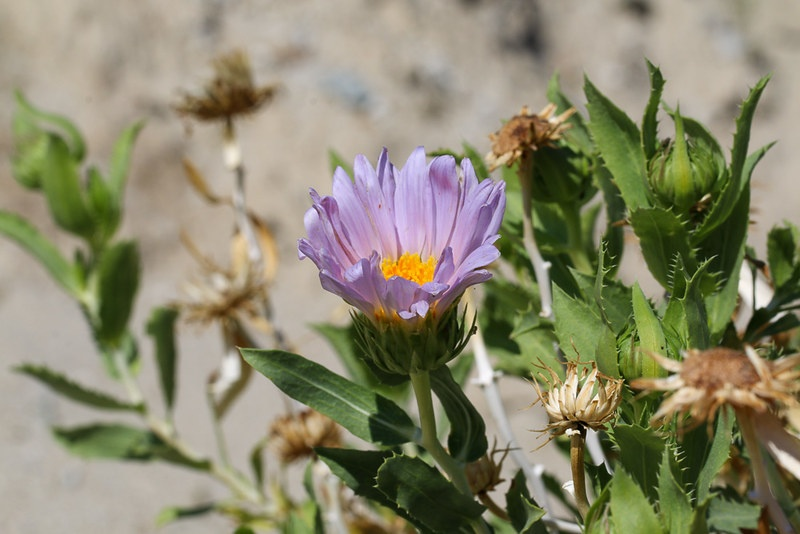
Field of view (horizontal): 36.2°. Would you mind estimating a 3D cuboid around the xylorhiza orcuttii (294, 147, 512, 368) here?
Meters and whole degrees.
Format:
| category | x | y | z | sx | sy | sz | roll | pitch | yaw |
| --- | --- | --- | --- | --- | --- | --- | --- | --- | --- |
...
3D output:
| category | x | y | z | sx | sy | sz | roll | pitch | yaw |
| --- | --- | --- | --- | --- | --- | --- | --- | --- | --- |
| xylorhiza orcuttii | 0.020 | -0.013 | 1.341 | 0.191 | 0.197 | 0.237 | -1 | 60 | 21 |
